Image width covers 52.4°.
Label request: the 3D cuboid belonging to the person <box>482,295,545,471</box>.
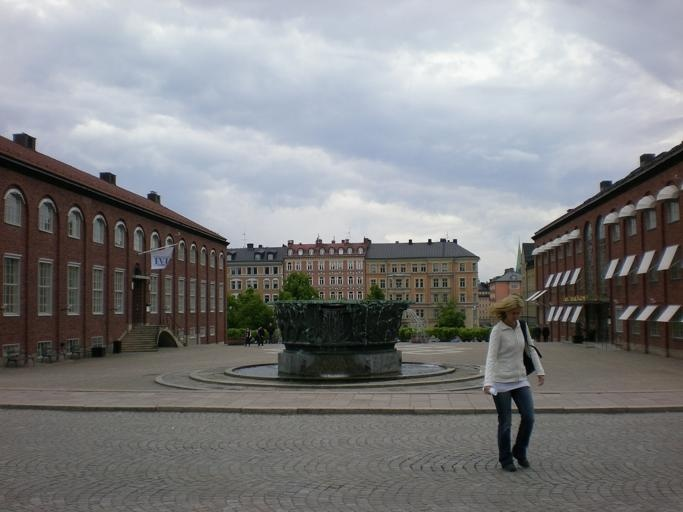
[{"bbox_3d":[2.743,2.000,11.080,0.878,2.808,1.051,-4,-7,15],"label":"person"}]

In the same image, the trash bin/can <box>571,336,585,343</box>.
[{"bbox_3d":[17.884,6.278,52.810,0.607,0.459,0.600,0,0,10],"label":"trash bin/can"}]

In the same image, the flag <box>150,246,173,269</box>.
[{"bbox_3d":[-11.218,-0.002,43.044,1.649,1.363,0.129,-5,-13,-32],"label":"flag"}]

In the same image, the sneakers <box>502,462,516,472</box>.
[{"bbox_3d":[2.667,3.345,11.092,0.102,0.113,0.280,1,-1,1],"label":"sneakers"}]

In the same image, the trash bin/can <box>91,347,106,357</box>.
[{"bbox_3d":[-13.754,5.380,39.447,0.620,0.602,0.606,0,0,-1],"label":"trash bin/can"}]
